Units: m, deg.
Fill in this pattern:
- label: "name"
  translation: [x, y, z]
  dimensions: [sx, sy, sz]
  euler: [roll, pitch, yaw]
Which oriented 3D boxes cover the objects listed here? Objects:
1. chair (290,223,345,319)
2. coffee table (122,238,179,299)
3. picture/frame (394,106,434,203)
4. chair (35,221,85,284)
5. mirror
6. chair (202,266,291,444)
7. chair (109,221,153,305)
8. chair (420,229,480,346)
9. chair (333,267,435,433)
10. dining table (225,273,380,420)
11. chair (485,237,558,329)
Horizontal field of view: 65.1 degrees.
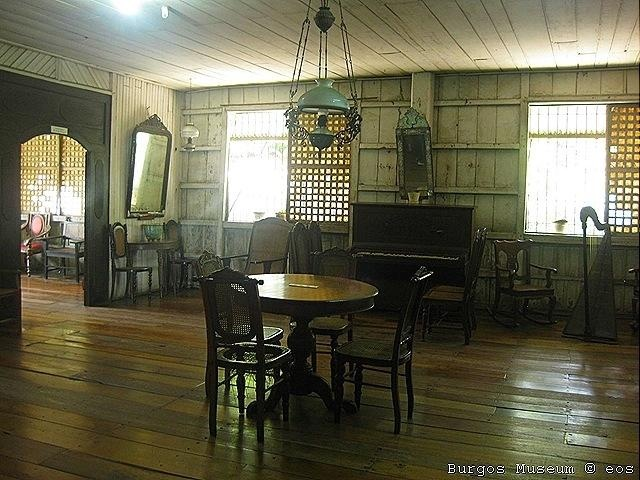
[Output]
- label: "chair"
  translation: [-0.126, 0.122, 6.098]
  dimensions: [0.626, 1.126, 0.659]
  euler: [1, 2, 22]
- label: "coffee table"
  translation: [-2.773, 0.363, 8.282]
  dimensions: [0.742, 0.939, 1.346]
  euler: [-1, 1, 5]
- label: "picture/frame"
  translation: [1.386, -1.239, 7.311]
  dimensions: [0.548, 1.334, 0.063]
  euler: [3, 13, 37]
- label: "chair"
  translation: [-4.871, 0.200, 9.703]
  dimensions: [0.749, 0.957, 0.667]
  euler: [4, 9, 7]
- label: "mirror"
  translation: [-2.828, -1.205, 8.303]
  dimensions: [0.163, 1.696, 0.923]
  euler: [3, 7, 25]
- label: "chair"
  translation: [-0.567, 0.808, 3.831]
  dimensions: [0.688, 1.231, 0.606]
  euler: [0, 6, -4]
- label: "chair"
  translation: [-2.983, 0.333, 7.886]
  dimensions: [0.591, 1.234, 0.808]
  euler: [-2, 7, -21]
- label: "chair"
  translation: [1.645, 0.541, 6.200]
  dimensions: [0.778, 1.301, 0.795]
  euler: [6, 9, 42]
- label: "chair"
  translation: [0.503, 0.856, 4.050]
  dimensions: [0.706, 1.167, 0.621]
  euler: [1, -3, 29]
- label: "dining table"
  translation: [-0.148, 0.963, 4.331]
  dimensions: [1.257, 0.933, 1.202]
  euler: [-1, -5, 20]
- label: "chair"
  translation: [2.812, 0.581, 6.920]
  dimensions: [0.822, 1.087, 0.934]
  euler: [2, 3, 16]
